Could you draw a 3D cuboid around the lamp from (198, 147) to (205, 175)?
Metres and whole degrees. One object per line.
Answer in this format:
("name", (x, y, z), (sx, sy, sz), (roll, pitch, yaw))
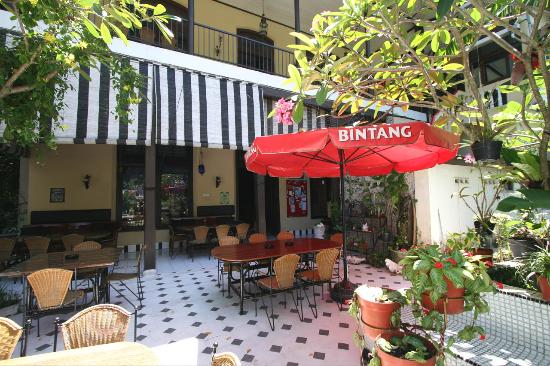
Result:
("lamp", (-2.471, -0.687, 12.962), (0.249, 0.907, 0.719), (-3, 13, -11))

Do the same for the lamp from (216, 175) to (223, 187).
("lamp", (-1.981, -0.054, 13.416), (0.332, 0.431, 0.309), (3, -2, -12))

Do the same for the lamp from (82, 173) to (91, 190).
("lamp", (-5.649, -0.061, 11.601), (0.249, 0.417, 0.096), (-8, 15, -29))
